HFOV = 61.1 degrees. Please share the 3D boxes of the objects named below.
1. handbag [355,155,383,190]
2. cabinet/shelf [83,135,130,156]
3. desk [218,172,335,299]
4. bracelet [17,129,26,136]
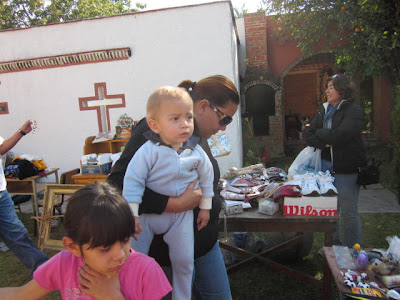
[{"bbox_3d":[2.496,0.320,4.981,0.337,0.363,0.192,-7,26,2],"label":"handbag"},{"bbox_3d":[-2.298,-0.088,7.981,0.804,0.385,0.598,0,1,10],"label":"cabinet/shelf"},{"bbox_3d":[0.989,1.044,4.158,1.119,0.770,1.131,0,2,10],"label":"desk"},{"bbox_3d":[-2.847,-0.269,5.403,0.105,0.099,0.068,38,33,23],"label":"bracelet"}]
